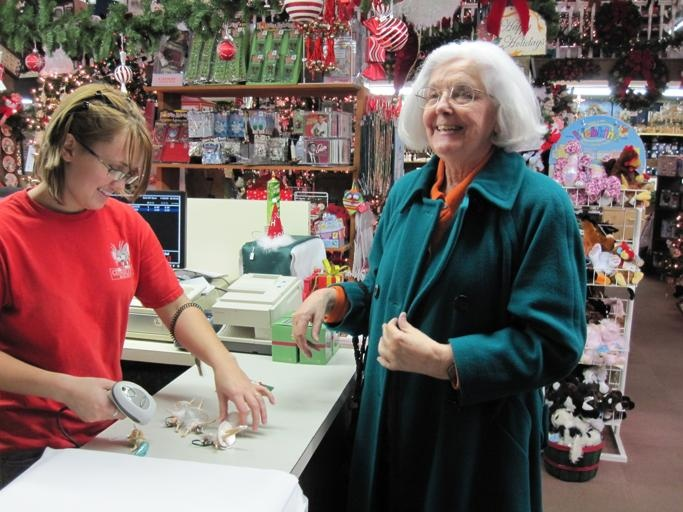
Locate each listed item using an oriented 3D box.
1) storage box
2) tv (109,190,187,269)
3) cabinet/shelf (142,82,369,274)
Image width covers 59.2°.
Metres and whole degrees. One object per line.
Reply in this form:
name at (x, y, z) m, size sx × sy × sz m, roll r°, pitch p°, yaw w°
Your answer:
storage box at (-0.161, 0.336, 2.467) m, size 0.193 × 0.144 × 0.208 m, roll 0°, pitch 5°, yaw 5°
tv at (-0.788, -0.110, 2.471) m, size 0.296 × 0.245 × 0.032 m, roll 24°, pitch 7°, yaw 4°
cabinet/shelf at (-0.575, -0.620, 4.443) m, size 1.468 × 1.482 × 0.505 m, roll 0°, pitch 1°, yaw 8°
